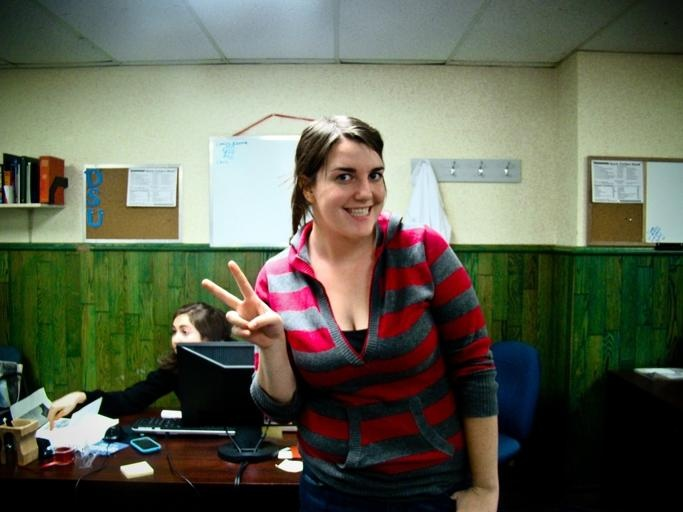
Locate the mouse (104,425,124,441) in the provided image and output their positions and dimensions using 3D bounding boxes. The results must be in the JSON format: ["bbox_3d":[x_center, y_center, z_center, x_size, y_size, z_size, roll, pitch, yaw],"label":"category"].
[{"bbox_3d":[-1.192,0.926,2.917,0.070,0.071,0.025,6,-40,-16],"label":"mouse"}]

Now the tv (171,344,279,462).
[{"bbox_3d":[-0.562,0.726,2.756,0.635,0.617,0.353,-1,7,-1],"label":"tv"}]

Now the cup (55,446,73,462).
[{"bbox_3d":[-1.368,0.991,2.775,0.073,0.051,0.056,0,1,-18],"label":"cup"}]

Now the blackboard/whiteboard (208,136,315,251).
[{"bbox_3d":[-0.511,-0.403,3.573,0.816,0.887,0.067,0,2,1],"label":"blackboard/whiteboard"}]
